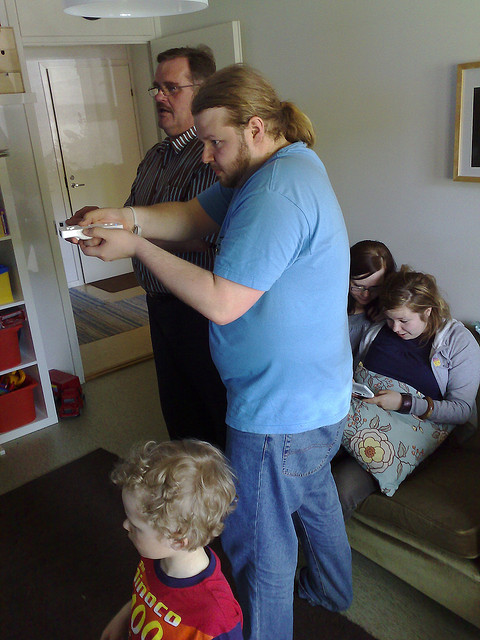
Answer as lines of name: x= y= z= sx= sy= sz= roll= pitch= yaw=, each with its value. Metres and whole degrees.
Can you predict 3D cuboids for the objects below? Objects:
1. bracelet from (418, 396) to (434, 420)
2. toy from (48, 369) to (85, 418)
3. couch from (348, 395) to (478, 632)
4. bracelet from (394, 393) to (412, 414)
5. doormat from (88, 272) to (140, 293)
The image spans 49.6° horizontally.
bracelet: x=0.690 y=0.328 z=1.917 sx=0.051 sy=0.079 sz=0.060 roll=8 pitch=26 yaw=33
toy: x=-1.114 y=0.455 z=3.339 sx=0.178 sy=0.166 sz=0.337 roll=-8 pitch=28 yaw=-14
couch: x=0.771 y=0.681 z=1.842 sx=0.574 sy=0.296 sz=0.495 roll=-19 pitch=24 yaw=-31
bracelet: x=0.591 y=0.305 z=1.882 sx=0.064 sy=0.063 sz=0.051 roll=-4 pitch=-3 yaw=0
doormat: x=-1.479 y=-0.442 z=6.044 sx=0.521 sy=0.035 sz=0.667 roll=-11 pitch=21 yaw=-16
